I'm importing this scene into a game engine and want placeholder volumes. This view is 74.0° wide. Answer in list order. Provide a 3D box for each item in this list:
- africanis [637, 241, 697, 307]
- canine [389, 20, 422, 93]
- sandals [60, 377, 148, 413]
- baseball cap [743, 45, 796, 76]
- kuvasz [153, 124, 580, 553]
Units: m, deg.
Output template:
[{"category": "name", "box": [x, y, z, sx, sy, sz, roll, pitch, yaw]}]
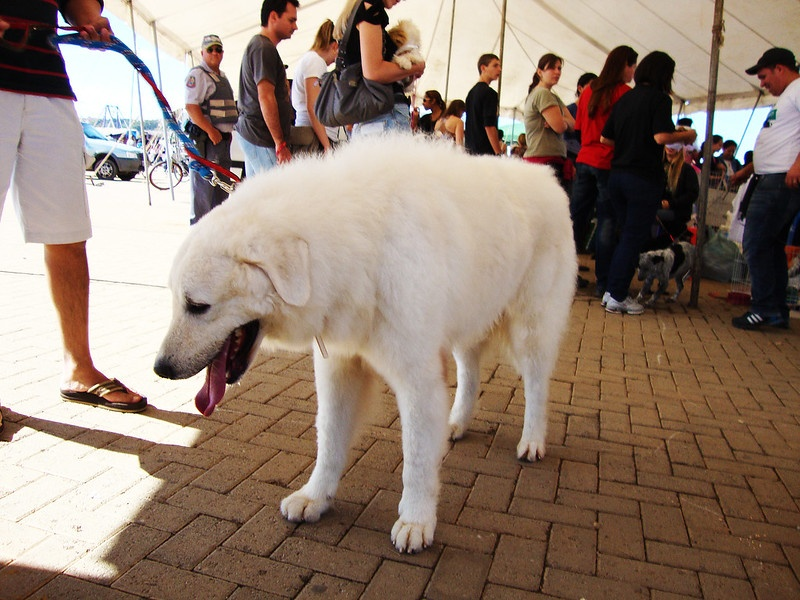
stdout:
[{"category": "africanis", "box": [3.409, -0.397, 6.825, 0.714, 0.980, 0.721, 15, 19, 29]}, {"category": "canine", "box": [0.077, -2.006, 4.285, 0.190, 0.349, 0.632, -6, 64, 15]}, {"category": "sandals", "box": [-1.916, 0.625, 3.515, 0.525, 0.202, 0.233, 7, 6, 1]}, {"category": "baseball cap", "box": [4.038, -2.567, 5.824, 0.459, 0.296, 0.345, 13, 24, 37]}, {"category": "kuvasz", "box": [0.100, 0.164, 3.062, 2.647, 2.191, 0.891, -16, 23, -36]}]
